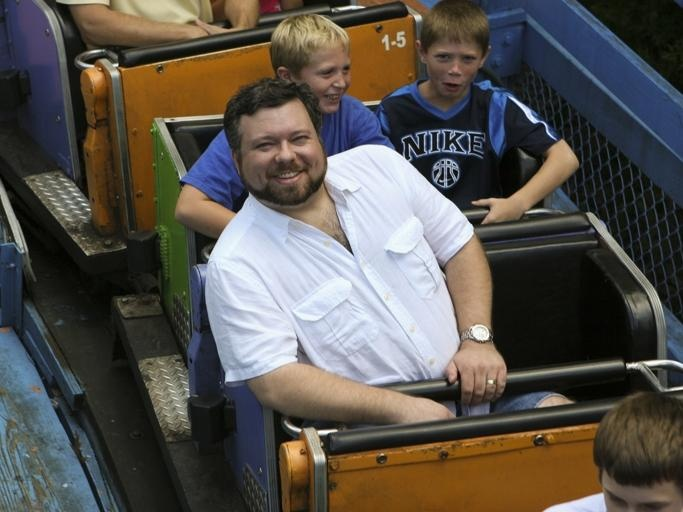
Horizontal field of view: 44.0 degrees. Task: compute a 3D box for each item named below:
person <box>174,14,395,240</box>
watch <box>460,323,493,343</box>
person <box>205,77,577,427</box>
[{"bbox_3d":[-0.246,-0.500,3.326,0.697,0.978,0.485,-23,35,-30],"label":"person"},{"bbox_3d":[0.462,0.259,2.850,0.062,0.027,0.069,7,17,21],"label":"watch"},{"bbox_3d":[-0.016,0.024,2.895,0.875,0.967,1.289,-31,49,-29],"label":"person"}]
